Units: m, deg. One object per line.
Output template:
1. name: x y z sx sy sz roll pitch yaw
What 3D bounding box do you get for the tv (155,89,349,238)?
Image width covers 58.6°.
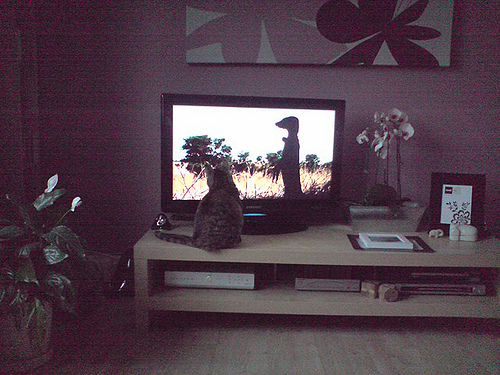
1. tv: 0.005 -0.109 2.275 0.956 0.553 0.322 0 1 -4

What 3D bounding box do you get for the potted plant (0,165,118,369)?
1. potted plant: -0.964 0.340 2.182 0.600 0.829 0.876 0 6 -16

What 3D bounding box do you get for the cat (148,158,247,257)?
1. cat: -0.205 0.046 2.128 0.299 0.364 0.447 11 22 14

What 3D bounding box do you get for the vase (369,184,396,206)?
1. vase: 0.675 0.034 2.270 0.196 0.141 0.099 1 1 12
